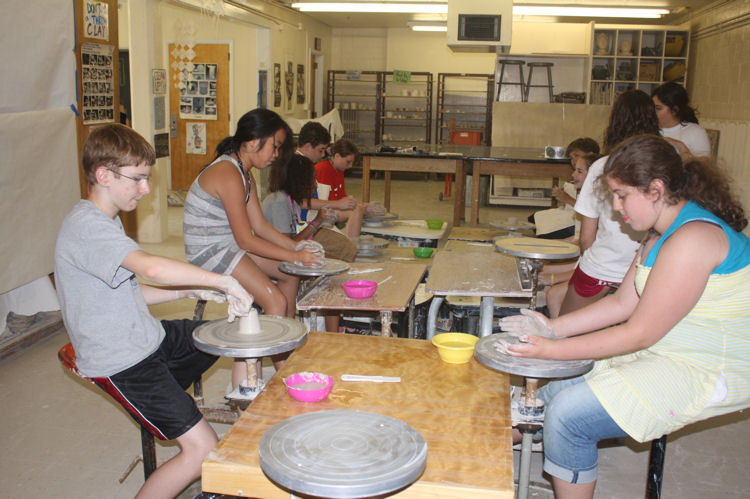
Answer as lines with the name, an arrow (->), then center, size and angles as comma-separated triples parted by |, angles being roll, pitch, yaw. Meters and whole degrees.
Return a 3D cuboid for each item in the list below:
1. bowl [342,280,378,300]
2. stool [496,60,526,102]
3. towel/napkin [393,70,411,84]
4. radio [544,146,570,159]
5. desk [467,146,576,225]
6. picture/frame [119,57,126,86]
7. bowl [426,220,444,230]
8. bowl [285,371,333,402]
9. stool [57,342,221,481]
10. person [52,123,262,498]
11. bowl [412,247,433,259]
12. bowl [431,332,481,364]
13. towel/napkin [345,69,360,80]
bowl -> -0.085, 0.223, 3.068 | 0.184, 0.073, 0.178 | 1, 14, 0
stool -> 2.738, -3.425, 11.067 | 0.599, 0.813, 0.316 | 3, 16, 9
towel/napkin -> 0.621, -4.153, 13.163 | 0.535, 0.343, 0.076 | -2, 1, -17
radio -> 2.418, -1.295, 7.388 | 0.316, 0.183, 0.322 | 8, 12, 41
desk -> 1.796, -1.059, 7.558 | 1.717, 0.817, 1.232 | 1, 16, 2
picture/frame -> -3.709, -2.608, 8.091 | 0.113, 0.380, 0.149 | -6, 17, -22
bowl -> 0.583, -0.249, 5.455 | 0.123, 0.050, 0.116 | 2, 9, 0
bowl -> -0.253, 0.544, 2.122 | 0.183, 0.062, 0.184 | 1, 9, 0
stool -> -1.159, 0.815, 2.667 | 0.636, 0.737, 0.454 | -12, 38, -12
person -> -0.968, 0.252, 2.398 | 0.600, 1.541, 0.765 | -12, 20, -40
bowl -> 0.398, 0.041, 4.489 | 0.114, 0.040, 0.108 | -1, 14, 0
bowl -> 0.349, 0.439, 2.407 | 0.195, 0.072, 0.191 | 2, 10, 0
towel/napkin -> -0.545, -4.364, 13.743 | 0.261, 0.161, 0.239 | 3, 35, 3
